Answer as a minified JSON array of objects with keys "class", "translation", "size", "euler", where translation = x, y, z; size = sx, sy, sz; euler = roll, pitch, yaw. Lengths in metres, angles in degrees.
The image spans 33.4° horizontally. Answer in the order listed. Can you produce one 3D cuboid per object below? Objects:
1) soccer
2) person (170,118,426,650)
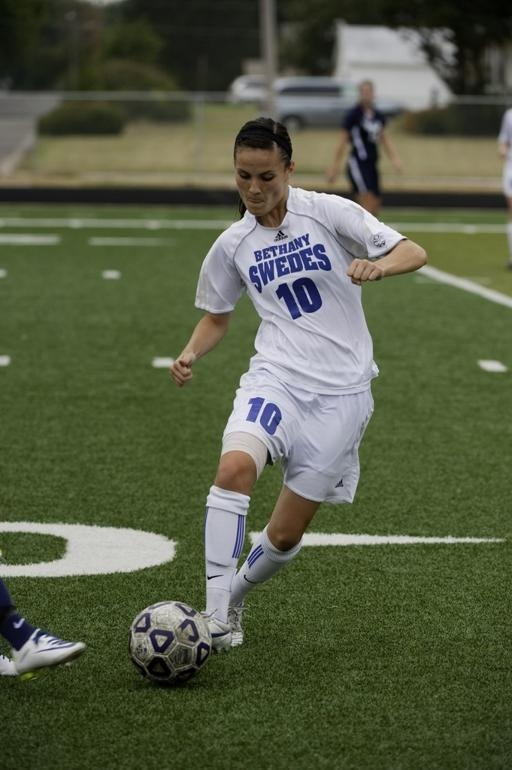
[{"class":"soccer","translation":[-0.203,0.714,2.411],"size":[0.257,0.215,0.220],"euler":[2,54,0]},{"class":"person","translation":[0.098,0.016,2.588],"size":[0.696,1.595,0.671],"euler":[-1,15,-5]}]
